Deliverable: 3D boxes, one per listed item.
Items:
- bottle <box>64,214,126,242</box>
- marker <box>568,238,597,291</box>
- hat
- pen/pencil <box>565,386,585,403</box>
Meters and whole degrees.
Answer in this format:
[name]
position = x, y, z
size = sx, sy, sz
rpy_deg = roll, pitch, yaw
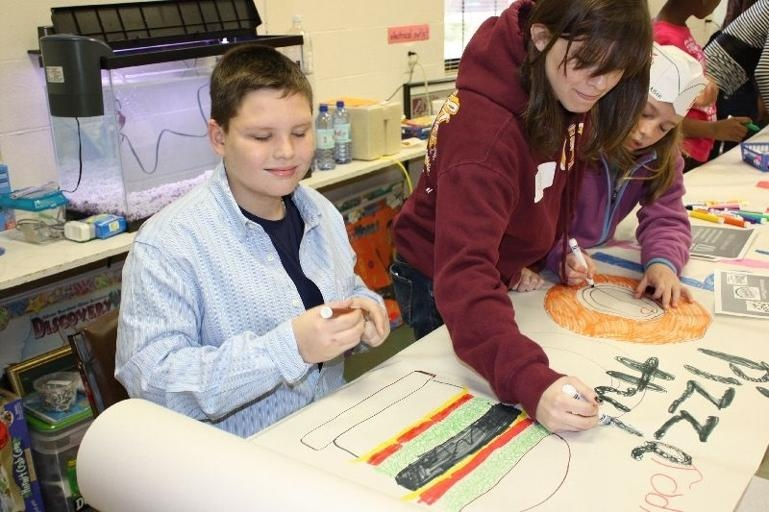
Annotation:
[bottle]
position = -1.063, -0.102, 1.890
size = 0.134, 0.049, 0.129
rpy_deg = -4, 16, 1
[marker]
position = 0.615, 0.034, 1.595
size = 0.029, 0.166, 0.036
rpy_deg = -20, -13, -35
[hat]
position = 0.897, -0.536, 1.567
size = 0.153, 0.213, 0.227
rpy_deg = 9, 26, 30
[pen/pencil]
position = 0.385, 0.283, 1.046
size = 0.023, 0.039, 0.016
rpy_deg = -45, -3, -27
